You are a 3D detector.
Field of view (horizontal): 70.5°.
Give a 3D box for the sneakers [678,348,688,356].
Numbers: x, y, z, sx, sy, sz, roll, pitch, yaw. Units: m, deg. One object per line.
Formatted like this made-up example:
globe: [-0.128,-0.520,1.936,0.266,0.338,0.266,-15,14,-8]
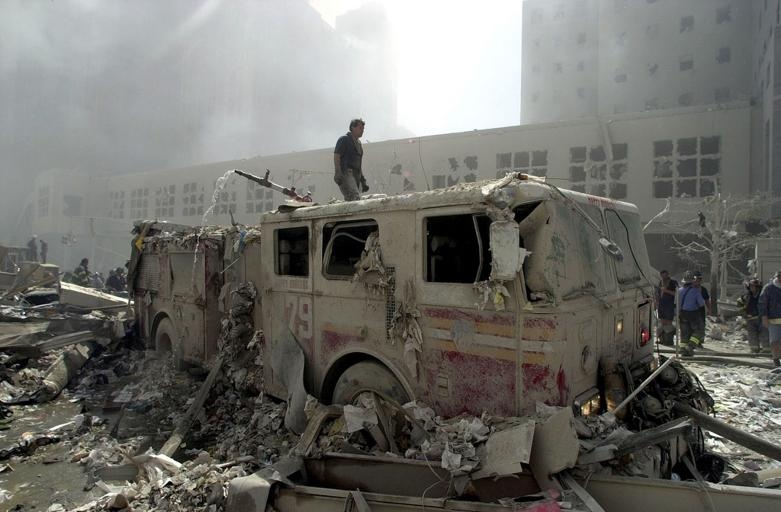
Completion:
sneakers: [7.968,2.574,14.881,0.219,0.178,0.283,-4,-8,27]
